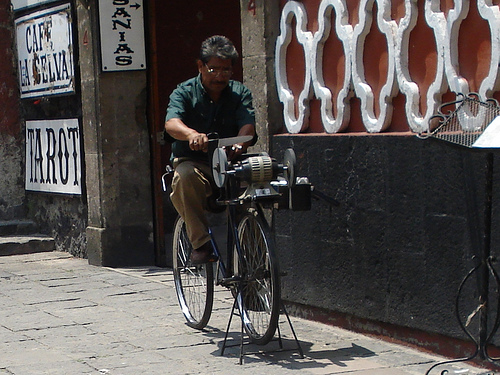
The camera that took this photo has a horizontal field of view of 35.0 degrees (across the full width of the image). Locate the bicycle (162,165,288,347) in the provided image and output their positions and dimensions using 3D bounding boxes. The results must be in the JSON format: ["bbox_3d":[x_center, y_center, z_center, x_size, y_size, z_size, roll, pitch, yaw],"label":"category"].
[{"bbox_3d":[-0.227,0.561,6.368,0.471,1.404,1.480,-5,8,-25],"label":"bicycle"}]

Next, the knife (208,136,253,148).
[{"bbox_3d":[-0.149,-0.352,6.088,0.339,0.106,0.318,-1,7,2],"label":"knife"}]
